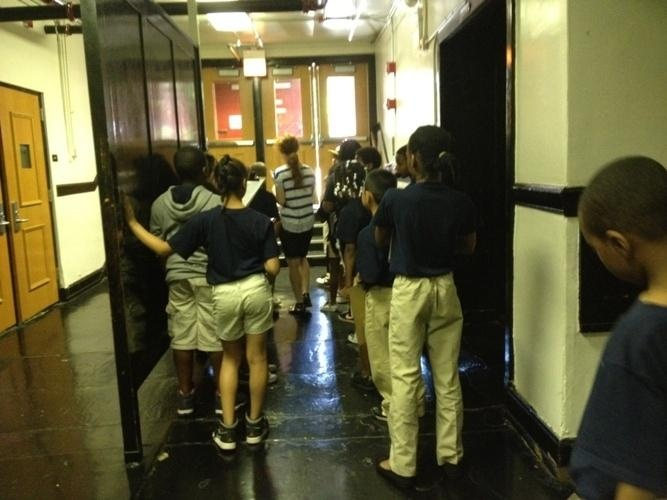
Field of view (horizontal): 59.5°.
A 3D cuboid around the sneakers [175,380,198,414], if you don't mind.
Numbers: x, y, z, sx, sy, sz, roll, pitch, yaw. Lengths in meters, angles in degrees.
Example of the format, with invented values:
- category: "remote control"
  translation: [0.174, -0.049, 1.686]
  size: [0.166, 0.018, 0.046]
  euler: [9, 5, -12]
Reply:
- category: "sneakers"
  translation: [-1.028, 1.058, 4.043]
  size: [0.077, 0.103, 0.218]
  euler: [1, 5, -5]

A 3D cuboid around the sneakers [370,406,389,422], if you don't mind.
- category: "sneakers"
  translation: [0.301, 1.084, 3.852]
  size: [0.051, 0.068, 0.145]
  euler: [8, 6, -18]

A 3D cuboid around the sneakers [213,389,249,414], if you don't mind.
- category: "sneakers"
  translation: [-0.710, 1.054, 4.056]
  size: [0.116, 0.158, 0.359]
  euler: [0, 6, 12]

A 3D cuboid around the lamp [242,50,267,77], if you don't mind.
- category: "lamp"
  translation: [-1.179, -2.750, 8.768]
  size: [0.351, 0.372, 0.360]
  euler: [2, -5, -7]

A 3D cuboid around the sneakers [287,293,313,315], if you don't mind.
- category: "sneakers"
  translation: [-0.362, 0.593, 6.242]
  size: [0.192, 0.202, 0.459]
  euler: [0, 3, -6]

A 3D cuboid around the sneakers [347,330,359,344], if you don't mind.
- category: "sneakers"
  translation: [0.171, 0.798, 5.253]
  size: [0.074, 0.088, 0.193]
  euler: [4, -10, -5]

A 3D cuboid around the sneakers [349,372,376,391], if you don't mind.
- category: "sneakers"
  translation: [0.218, 0.970, 4.313]
  size: [0.076, 0.080, 0.180]
  euler: [-5, 13, -38]

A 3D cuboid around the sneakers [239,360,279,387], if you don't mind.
- category: "sneakers"
  translation: [-0.565, 0.915, 4.466]
  size: [0.158, 0.217, 0.497]
  euler: [1, 7, 6]

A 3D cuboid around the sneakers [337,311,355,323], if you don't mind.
- category: "sneakers"
  translation: [0.122, 0.679, 5.811]
  size: [0.085, 0.113, 0.250]
  euler: [-1, 8, -30]

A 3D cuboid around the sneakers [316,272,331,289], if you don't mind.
- category: "sneakers"
  translation: [-0.134, 0.391, 7.427]
  size: [0.106, 0.132, 0.293]
  euler: [1, 3, -19]

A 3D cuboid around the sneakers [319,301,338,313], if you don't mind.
- category: "sneakers"
  translation: [-0.062, 0.605, 6.148]
  size: [0.085, 0.074, 0.163]
  euler: [-4, 9, -45]

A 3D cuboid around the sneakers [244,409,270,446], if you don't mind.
- category: "sneakers"
  translation: [-0.484, 1.121, 3.620]
  size: [0.081, 0.112, 0.236]
  euler: [0, 4, 2]

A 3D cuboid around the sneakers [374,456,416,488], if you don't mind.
- category: "sneakers"
  translation: [0.343, 1.233, 3.207]
  size: [0.082, 0.078, 0.204]
  euler: [-1, 0, -34]
